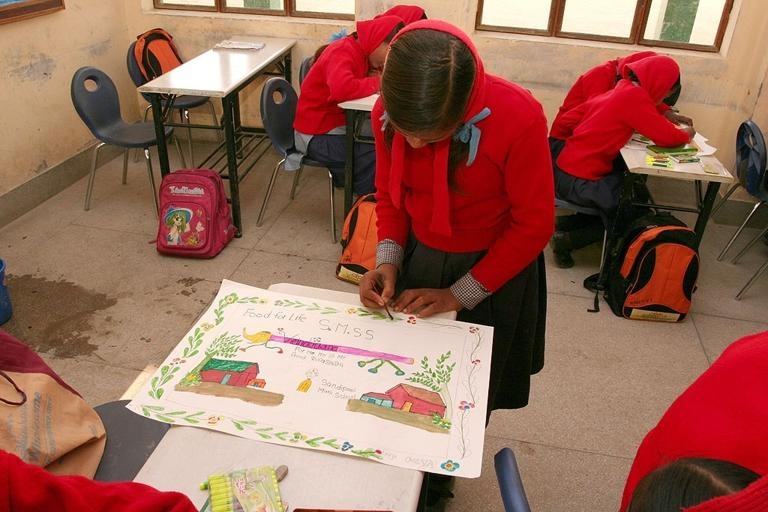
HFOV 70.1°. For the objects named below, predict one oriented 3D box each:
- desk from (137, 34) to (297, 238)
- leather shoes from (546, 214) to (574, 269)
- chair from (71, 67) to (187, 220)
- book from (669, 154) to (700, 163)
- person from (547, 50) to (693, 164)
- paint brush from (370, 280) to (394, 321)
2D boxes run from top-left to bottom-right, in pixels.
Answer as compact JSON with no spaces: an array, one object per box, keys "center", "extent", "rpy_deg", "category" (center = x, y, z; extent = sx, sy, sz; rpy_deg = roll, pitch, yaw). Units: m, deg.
[{"center":[-1.262,-0.914,4.149],"extent":[0.653,1.015,1.480],"rpy_deg":[8,33,8],"category":"desk"},{"center":[1.132,-0.069,3.491],"extent":[0.245,0.355,0.113],"rpy_deg":[-4,-4,-40],"category":"leather shoes"},{"center":[-1.955,-0.827,4.148],"extent":[0.766,1.108,0.707],"rpy_deg":[16,43,0],"category":"chair"},{"center":[1.827,-0.582,3.293],"extent":[0.208,0.016,0.097],"rpy_deg":[-7,34,-13],"category":"book"},{"center":[1.566,-0.886,3.539],"extent":[0.834,0.652,0.566],"rpy_deg":[9,30,25],"category":"person"},{"center":[-0.005,0.147,1.739],"extent":[0.016,0.040,0.155],"rpy_deg":[12,37,-25],"category":"paint brush"}]
